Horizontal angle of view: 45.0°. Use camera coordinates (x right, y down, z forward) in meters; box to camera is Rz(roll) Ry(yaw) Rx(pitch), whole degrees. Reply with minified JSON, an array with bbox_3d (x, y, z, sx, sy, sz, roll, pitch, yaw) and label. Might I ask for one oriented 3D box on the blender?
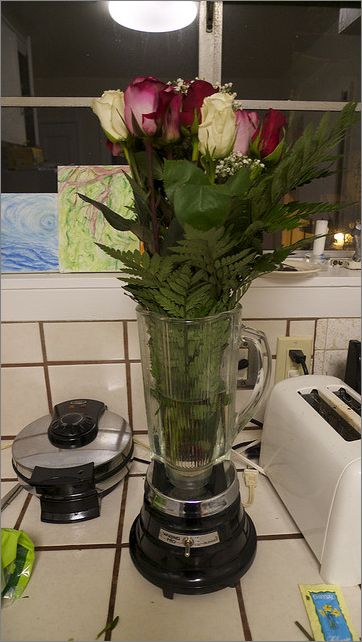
[{"bbox_3d":[0.016,0.151,0.544,0.148,0.377,0.150,-2,15,-5],"label":"blender"}]
